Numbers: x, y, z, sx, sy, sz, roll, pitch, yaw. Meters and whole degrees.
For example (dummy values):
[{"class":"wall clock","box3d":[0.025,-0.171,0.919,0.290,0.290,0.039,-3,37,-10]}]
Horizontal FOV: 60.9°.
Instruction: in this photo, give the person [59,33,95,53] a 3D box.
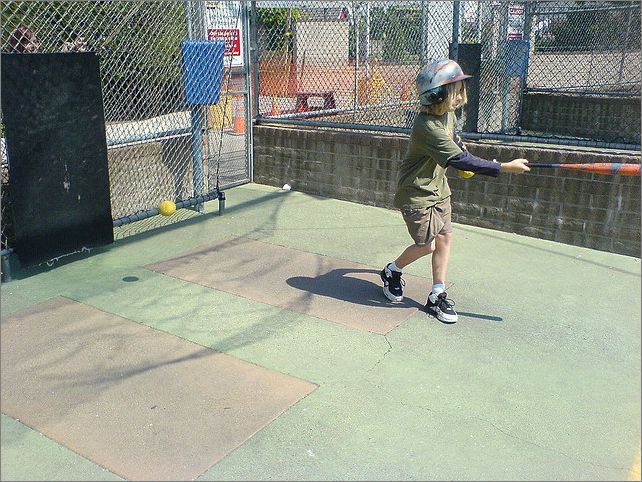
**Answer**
[{"class":"person","box3d":[-2.518,-2.026,5.577,0.264,0.179,0.744,-7,17,-23]}]

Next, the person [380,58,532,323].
[{"class":"person","box3d":[0.957,-0.386,4.477,0.895,2.092,0.456,2,16,8]}]

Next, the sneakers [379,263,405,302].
[{"class":"sneakers","box3d":[0.657,0.354,4.884,0.159,0.190,0.414,10,32,-13]}]

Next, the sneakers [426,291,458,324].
[{"class":"sneakers","box3d":[1.041,0.539,4.643,0.157,0.186,0.422,3,16,-16]}]

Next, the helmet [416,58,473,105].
[{"class":"helmet","box3d":[0.960,-1.251,4.281,0.430,0.357,0.345,-4,20,2]}]
